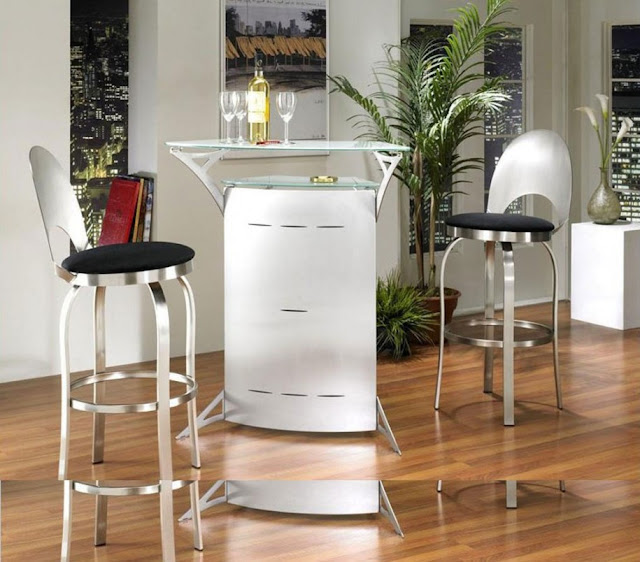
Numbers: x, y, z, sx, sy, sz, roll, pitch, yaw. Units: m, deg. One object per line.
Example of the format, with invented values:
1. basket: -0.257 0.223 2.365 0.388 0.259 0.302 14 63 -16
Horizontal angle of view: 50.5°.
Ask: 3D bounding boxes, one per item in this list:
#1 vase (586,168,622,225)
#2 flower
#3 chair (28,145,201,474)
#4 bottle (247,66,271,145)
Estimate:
1. vase: 2.104 -0.623 5.018 0.222 0.393 0.231 4 12 20
2. flower: 2.185 -1.147 5.146 0.435 0.568 1.008 3 11 18
3. chair: -0.698 0.097 2.366 0.560 1.101 0.476 3 6 13
4. bottle: -0.266 -0.743 2.901 0.092 0.307 0.274 -2 11 -7
